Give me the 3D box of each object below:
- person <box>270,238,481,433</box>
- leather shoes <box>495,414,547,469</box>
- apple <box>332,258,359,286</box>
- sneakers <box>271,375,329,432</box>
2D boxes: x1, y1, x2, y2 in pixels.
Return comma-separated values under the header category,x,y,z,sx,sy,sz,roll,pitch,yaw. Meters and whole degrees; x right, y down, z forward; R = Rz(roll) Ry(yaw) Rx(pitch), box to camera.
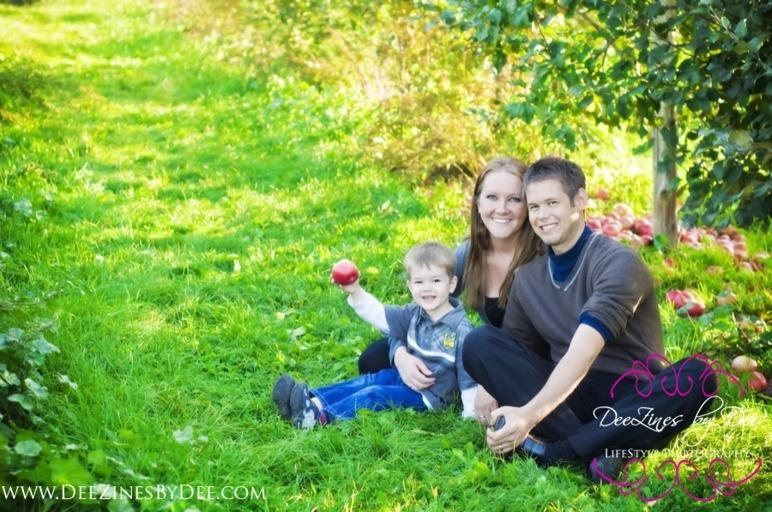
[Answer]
category,x,y,z,sx,sy,sz,roll,pitch,yaw
person,-0.038,0.556,5.083,0.883,1.148,1.558,10,10,44
leather shoes,0.782,1.143,4.719,0.355,0.193,0.155,29,20,-5
apple,-0.293,0.114,5.471,0.174,0.186,0.173,2,50,-2
sneakers,-0.581,0.971,5.045,0.501,0.182,0.228,57,12,23
